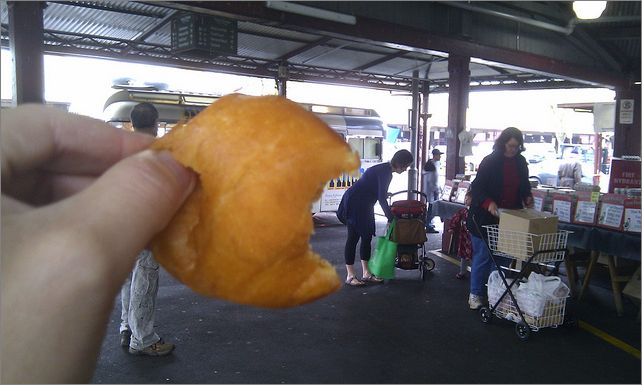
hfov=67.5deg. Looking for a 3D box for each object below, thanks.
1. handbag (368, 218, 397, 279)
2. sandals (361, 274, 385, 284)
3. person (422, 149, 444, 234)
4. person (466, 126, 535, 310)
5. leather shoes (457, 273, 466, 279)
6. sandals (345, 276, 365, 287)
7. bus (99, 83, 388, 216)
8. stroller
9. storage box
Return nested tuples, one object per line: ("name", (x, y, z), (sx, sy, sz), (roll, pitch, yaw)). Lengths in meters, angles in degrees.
("handbag", (1.307, 1.211, 9.781), (0.570, 1.307, 0.458), (0, 10, -11))
("sandals", (1.098, 1.805, 10.038), (0.455, 0.175, 0.186), (-2, -1, 3))
("person", (3.228, -0.105, 13.709), (0.643, 2.286, 0.682), (0, 15, 3))
("person", (3.359, 0.495, 9.098), (1.355, 3.644, 1.139), (-6, 11, -26))
("leather shoes", (3.006, 1.787, 10.287), (0.217, 0.097, 0.077), (4, -6, -10))
("sandals", (0.721, 1.792, 9.859), (0.286, 0.138, 0.202), (0, 0, 33))
("bus", (-0.862, -1.124, 14.167), (9.741, 3.659, 3.198), (2, 1, -32))
("stroller", (2.214, 0.844, 10.437), (1.047, 1.712, 1.455), (0, 5, -5))
("storage box", (3.659, 0.682, 8.332), (0.869, 0.920, 0.869), (-2, 12, -22))
